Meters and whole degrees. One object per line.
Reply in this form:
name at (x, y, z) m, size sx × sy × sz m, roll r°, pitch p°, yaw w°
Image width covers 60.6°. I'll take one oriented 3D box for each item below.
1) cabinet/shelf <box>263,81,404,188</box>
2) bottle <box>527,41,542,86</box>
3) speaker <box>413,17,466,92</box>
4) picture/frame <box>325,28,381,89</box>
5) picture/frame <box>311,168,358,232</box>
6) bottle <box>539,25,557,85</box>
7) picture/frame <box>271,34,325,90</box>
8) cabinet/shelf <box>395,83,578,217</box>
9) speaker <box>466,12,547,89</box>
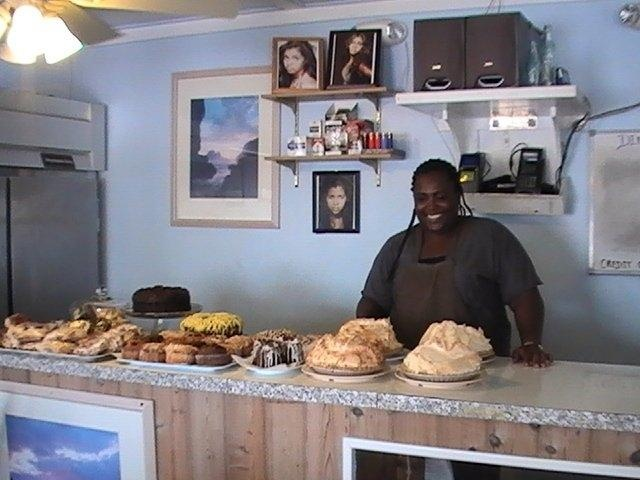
cabinet/shelf at (0.130, -0.730, 3.744) m, size 0.854 × 0.564 × 0.286 m, roll 0°, pitch -1°, yaw 21°
bottle at (1.162, -0.953, 2.978) m, size 0.106 × 0.250 × 0.102 m, roll 0°, pitch 2°, yaw 0°
speaker at (0.646, -1.061, 3.127) m, size 0.334 × 0.377 × 0.253 m, roll -9°, pitch 20°, yaw -16°
picture/frame at (0.227, -1.173, 3.571) m, size 0.461 × 0.461 × 0.079 m, roll 2°, pitch -4°, yaw 16°
picture/frame at (0.114, -0.290, 3.864) m, size 0.477 × 0.526 × 0.038 m, roll 1°, pitch 3°, yaw 13°
bottle at (1.243, -0.995, 2.989) m, size 0.077 × 0.368 × 0.283 m, roll 0°, pitch 3°, yaw 21°
picture/frame at (-0.150, -1.187, 3.700) m, size 0.402 × 0.367 × 0.039 m, roll 0°, pitch 3°, yaw 4°
cabinet/shelf at (1.044, -0.500, 3.332) m, size 0.996 × 0.668 × 0.528 m, roll 0°, pitch 0°, yaw 28°
speaker at (1.060, -1.035, 3.158) m, size 0.296 × 0.359 × 0.556 m, roll 5°, pitch 12°, yaw 32°
